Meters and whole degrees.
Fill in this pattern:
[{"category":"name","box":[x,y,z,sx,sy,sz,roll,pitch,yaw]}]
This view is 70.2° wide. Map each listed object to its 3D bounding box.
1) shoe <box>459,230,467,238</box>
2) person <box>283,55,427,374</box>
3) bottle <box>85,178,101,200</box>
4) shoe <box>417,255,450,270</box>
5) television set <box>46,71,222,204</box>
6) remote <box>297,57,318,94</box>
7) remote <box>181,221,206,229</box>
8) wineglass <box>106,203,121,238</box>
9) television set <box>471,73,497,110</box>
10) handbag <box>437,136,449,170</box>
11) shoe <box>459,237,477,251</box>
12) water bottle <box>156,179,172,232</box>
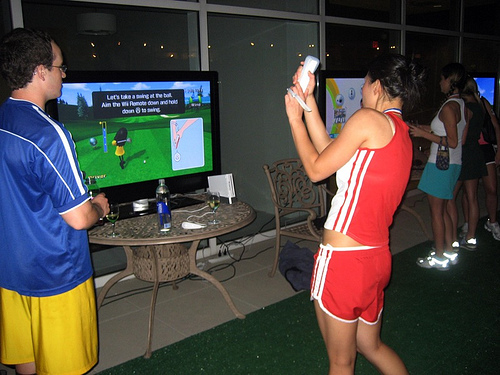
[{"category":"shoe","box":[2.760,0.611,4.563,0.088,0.027,0.065,-22,27,39]},{"category":"person","box":[0.529,0.160,1.743,0.609,1.551,0.426,-8,14,-29]},{"category":"bottle","box":[-0.993,0.010,2.231,0.091,0.131,0.128,-9,17,-39]},{"category":"shoe","box":[1.959,0.787,3.785,0.309,0.151,0.136,8,21,34]},{"category":"television set","box":[-0.903,-0.402,2.729,1.045,0.837,0.107,-8,9,-37]},{"category":"remote","box":[0.274,-0.543,1.712,0.077,0.172,0.028,18,-6,14]},{"category":"remote","box":[-0.413,0.274,2.639,0.182,0.032,0.131,-1,14,2]},{"category":"wineglass","box":[-0.973,0.214,2.505,0.089,0.239,0.293,-6,14,-21]},{"category":"television set","box":[4.139,-1.665,6.152,0.852,0.592,0.217,-13,17,-40]},{"category":"handbag","box":[1.937,-0.337,3.532,0.106,0.320,0.047,6,14,29]},{"category":"shoe","box":[2.613,0.663,4.266,0.098,0.114,0.259,-8,12,-15]},{"category":"water bottle","box":[-0.656,0.123,2.696,0.103,0.312,0.427,-4,14,-14]}]
